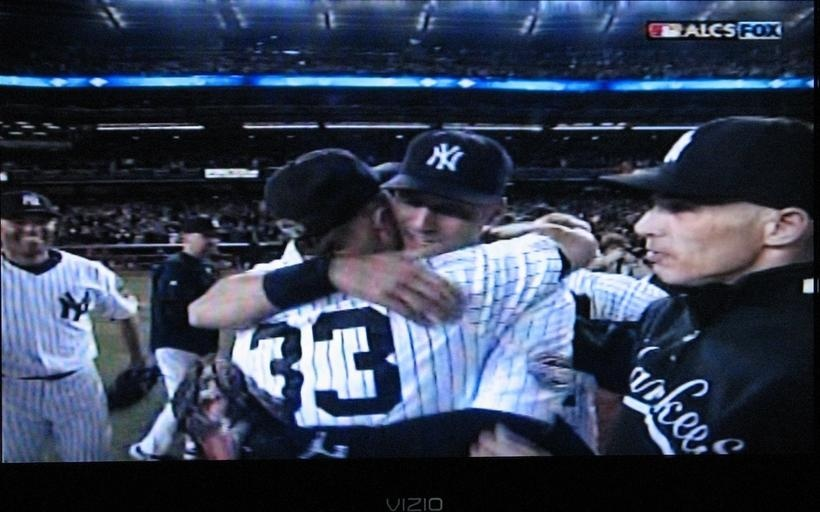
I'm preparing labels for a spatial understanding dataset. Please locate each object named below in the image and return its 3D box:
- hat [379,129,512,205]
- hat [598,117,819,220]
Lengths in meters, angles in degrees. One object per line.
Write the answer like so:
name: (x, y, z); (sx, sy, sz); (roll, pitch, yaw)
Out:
hat: (0.158, -0.356, 3.122); (0.454, 0.188, 0.334); (3, 5, -41)
hat: (1.297, -0.377, 3.294); (0.764, 0.208, 0.429); (0, 2, 2)
